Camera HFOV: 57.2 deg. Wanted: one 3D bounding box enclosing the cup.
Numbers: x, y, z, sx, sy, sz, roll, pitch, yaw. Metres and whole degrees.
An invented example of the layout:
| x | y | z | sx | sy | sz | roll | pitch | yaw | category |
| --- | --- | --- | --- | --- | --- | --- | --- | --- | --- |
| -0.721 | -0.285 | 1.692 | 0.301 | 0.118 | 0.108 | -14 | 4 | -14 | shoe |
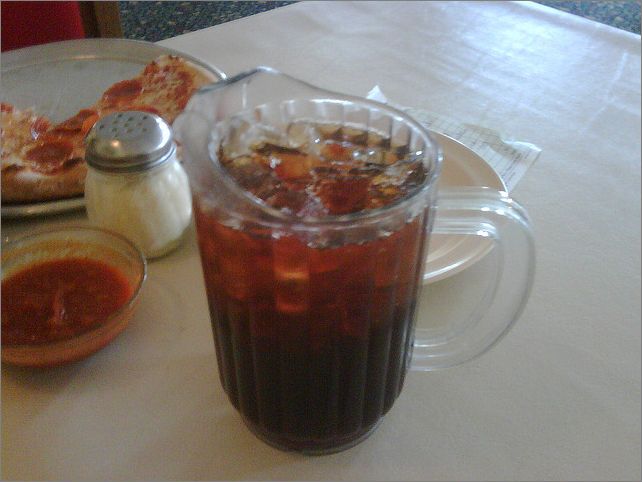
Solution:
| x | y | z | sx | sy | sz | roll | pitch | yaw | category |
| --- | --- | --- | --- | --- | --- | --- | --- | --- | --- |
| 0.072 | 0.015 | 0.700 | 0.421 | 0.364 | 0.314 | -11 | 47 | -18 | cup |
